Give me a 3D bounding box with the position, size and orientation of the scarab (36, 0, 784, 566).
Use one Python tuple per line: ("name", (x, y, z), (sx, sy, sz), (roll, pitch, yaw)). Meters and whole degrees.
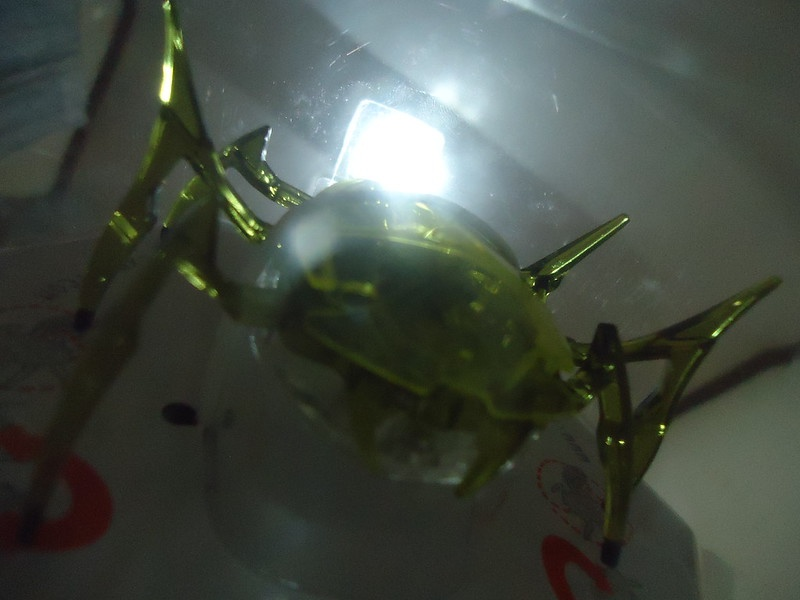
("scarab", (-0.012, -0.063, 0.977), (0.697, 0.406, 0.541), (35, 20, -11))
